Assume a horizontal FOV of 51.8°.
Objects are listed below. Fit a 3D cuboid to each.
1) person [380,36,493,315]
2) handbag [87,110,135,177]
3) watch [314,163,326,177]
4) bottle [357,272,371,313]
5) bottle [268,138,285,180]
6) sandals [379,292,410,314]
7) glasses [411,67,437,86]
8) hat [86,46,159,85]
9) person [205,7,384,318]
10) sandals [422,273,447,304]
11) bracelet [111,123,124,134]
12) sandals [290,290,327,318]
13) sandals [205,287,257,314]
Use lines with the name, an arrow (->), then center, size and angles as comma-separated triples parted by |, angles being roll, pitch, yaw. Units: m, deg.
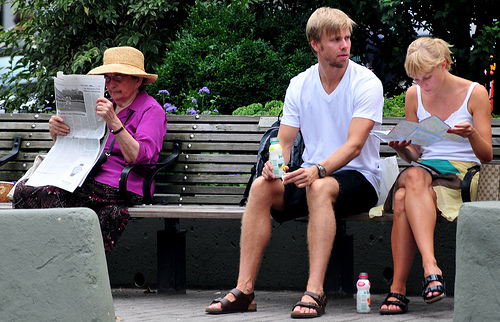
person -> 1.426, 0.052, 3.932 | 0.722, 2.051, 1.094 | 1, 3, 27
handbag -> -1.268, -0.076, 4.655 | 0.105, 0.494, 0.077 | 38, -31, -18
watch -> 0.524, 0.077, 3.807 | 0.080, 0.099, 0.050 | 0, 3, 4
bottle -> 0.826, 0.961, 3.750 | 0.099, 0.290, 0.153 | 1, 3, 12
bottle -> 0.201, -0.013, 3.829 | 0.116, 0.307, 0.100 | 0, 3, 5
sandals -> 1.025, 1.018, 3.657 | 0.215, 0.155, 0.147 | 0, 3, 4
glasses -> 1.391, -0.678, 4.087 | 0.149, 0.077, 0.113 | -14, -15, -48
hat -> -1.233, -0.930, 5.040 | 0.642, 0.306, 0.629 | -6, -1, 13
person -> 0.477, -0.066, 3.950 | 0.899, 2.307, 1.153 | 1, 3, 26
sandals -> 1.246, 0.869, 3.497 | 0.100, 0.097, 0.262 | -16, 3, 14
bracelet -> -1.145, -0.278, 4.456 | 0.081, 0.031, 0.084 | -22, -1, 32
sandals -> 0.427, 0.998, 3.548 | 0.320, 0.200, 0.143 | -2, 4, -40
sandals -> -0.117, 1.012, 3.702 | 0.398, 0.156, 0.147 | 6, -17, -26
